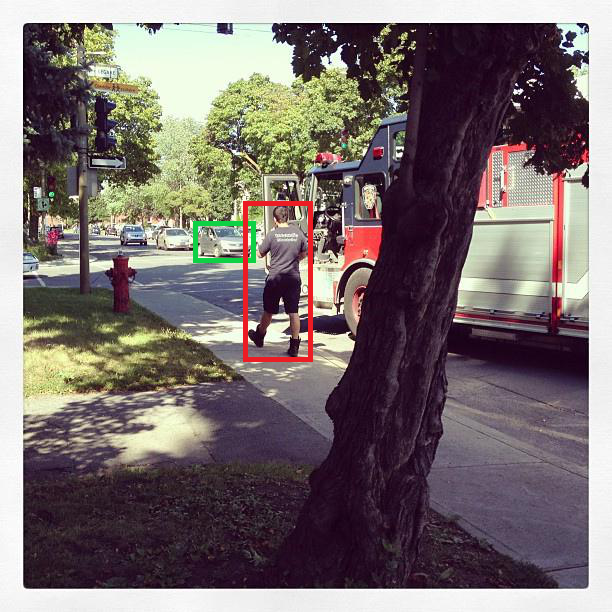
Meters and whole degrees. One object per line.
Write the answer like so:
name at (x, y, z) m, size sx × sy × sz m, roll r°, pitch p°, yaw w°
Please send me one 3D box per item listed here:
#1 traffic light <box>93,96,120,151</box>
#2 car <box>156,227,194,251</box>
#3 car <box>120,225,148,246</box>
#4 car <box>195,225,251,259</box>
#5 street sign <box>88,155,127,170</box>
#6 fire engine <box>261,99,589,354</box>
traffic light at (-4.435, -4.025, 13.740) m, size 0.369 × 1.146 × 0.340 m, roll -1°, pitch -4°, yaw -20°
car at (-10.186, -5.051, 47.323) m, size 2.870 × 1.686 × 1.710 m, roll 8°, pitch 8°, yaw 24°
car at (-15.160, -6.100, 53.586) m, size 1.246 × 1.401 × 2.540 m, roll -1°, pitch -1°, yaw -18°
car at (-5.343, -4.013, 39.511) m, size 2.109 × 2.001 × 4.098 m, roll -1°, pitch 10°, yaw -40°
street sign at (-4.639, -3.315, 14.335) m, size 1.203 × 0.345 × 0.576 m, roll 10°, pitch 9°, yaw 33°
fire engine at (2.394, -1.033, 10.806) m, size 6.160 × 4.774 × 4.486 m, roll -2°, pitch 6°, yaw -21°
